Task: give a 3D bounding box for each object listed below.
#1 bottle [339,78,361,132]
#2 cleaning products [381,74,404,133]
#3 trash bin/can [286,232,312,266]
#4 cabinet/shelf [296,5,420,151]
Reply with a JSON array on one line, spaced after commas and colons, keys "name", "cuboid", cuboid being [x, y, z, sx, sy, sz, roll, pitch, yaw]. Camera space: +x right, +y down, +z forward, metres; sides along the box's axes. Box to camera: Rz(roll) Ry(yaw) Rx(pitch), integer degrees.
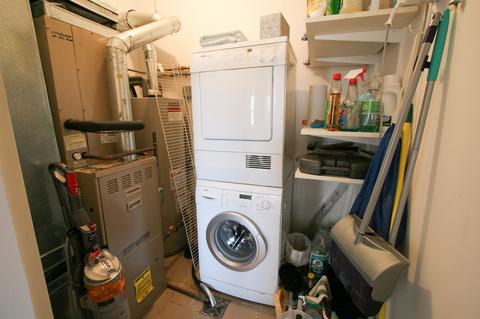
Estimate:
[{"name": "bottle", "cuboid": [0.766, -0.383, 2.269, 0.133, 0.354, 0.191, 3, 14, 12]}, {"name": "cleaning products", "cuboid": [0.985, -0.371, 2.144, 0.114, 0.362, 0.125, 6, 15, 22]}, {"name": "trash bin/can", "cuboid": [0.526, 0.747, 2.926, 0.146, 0.164, 0.181, -3, -9, -24]}, {"name": "cabinet/shelf", "cuboid": [0.742, -0.685, 2.436, 0.785, 0.766, 0.787, 2, 24, 6]}]
